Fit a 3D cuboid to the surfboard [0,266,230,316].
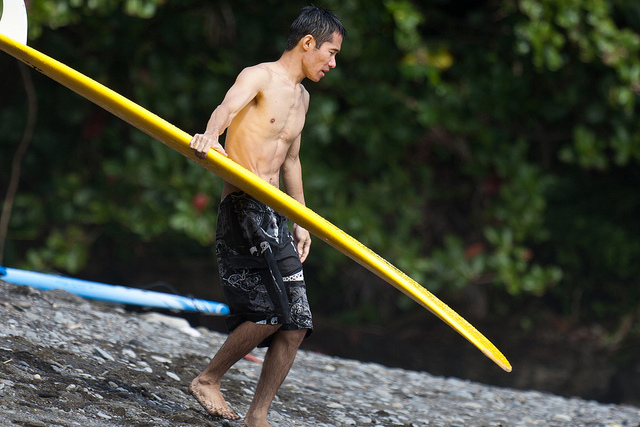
[{"bbox_3d":[-1.980,0.745,10.999,1.633,0.223,0.184,16,29,-19],"label":"surfboard"}]
